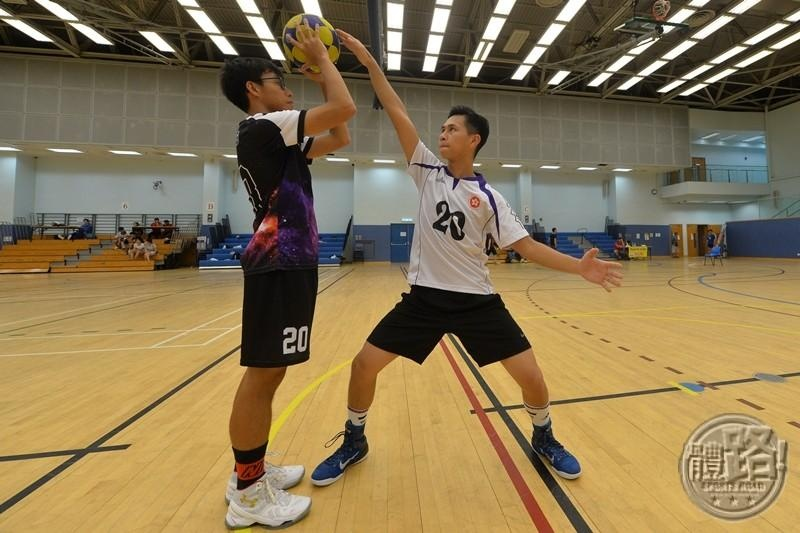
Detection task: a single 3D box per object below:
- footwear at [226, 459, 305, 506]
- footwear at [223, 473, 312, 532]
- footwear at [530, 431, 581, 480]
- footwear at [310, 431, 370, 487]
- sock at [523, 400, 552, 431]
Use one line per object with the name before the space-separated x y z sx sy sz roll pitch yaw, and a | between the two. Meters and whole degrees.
footwear | -1.333 2.111 4.890 0.899 0.425 0.308 -5 13 -11
footwear | -1.246 2.372 4.903 0.931 0.543 0.369 -1 1 -7
footwear | 1.579 1.983 4.899 0.165 0.254 0.400 -23 51 -26
footwear | -0.602 2.020 4.897 0.565 0.367 0.193 -30 26 -16
sock | 1.454 1.569 4.989 0.263 0.278 0.246 -6 -4 30
